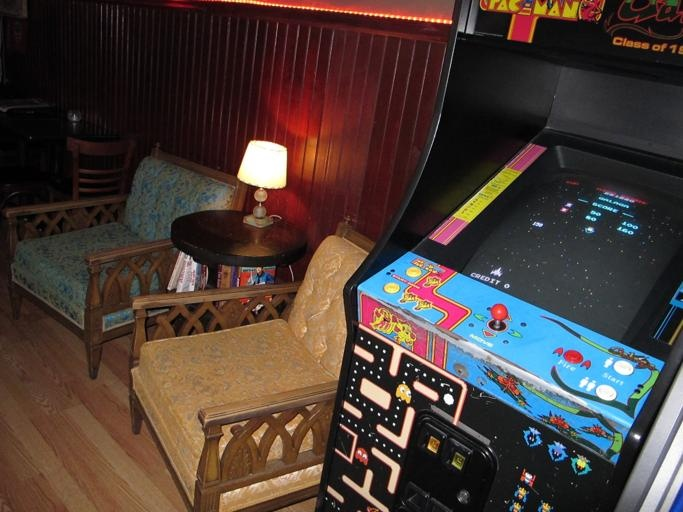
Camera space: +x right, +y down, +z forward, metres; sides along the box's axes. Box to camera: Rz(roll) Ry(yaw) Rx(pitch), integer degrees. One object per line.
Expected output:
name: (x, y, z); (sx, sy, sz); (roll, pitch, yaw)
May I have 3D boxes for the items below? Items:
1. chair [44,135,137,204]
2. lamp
chair: (-2.034, -0.705, 3.904); (0.384, 0.671, 0.442); (-12, 51, -36)
lamp: (-0.461, -0.411, 2.779); (0.273, 0.454, 0.289); (-5, 20, -42)
